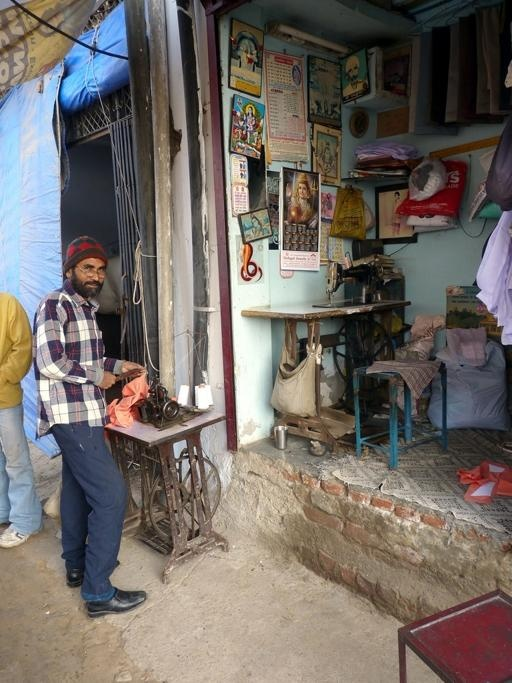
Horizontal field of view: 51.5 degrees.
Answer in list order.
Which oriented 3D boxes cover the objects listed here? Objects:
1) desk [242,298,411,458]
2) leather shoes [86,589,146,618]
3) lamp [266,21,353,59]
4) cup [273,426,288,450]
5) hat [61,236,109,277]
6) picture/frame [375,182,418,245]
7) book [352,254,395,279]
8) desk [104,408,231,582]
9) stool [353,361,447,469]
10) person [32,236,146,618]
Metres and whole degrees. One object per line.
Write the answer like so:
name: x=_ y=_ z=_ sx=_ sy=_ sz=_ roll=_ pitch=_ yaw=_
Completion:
desk: x=0.518 y=0.048 z=3.809 sx=0.861 sy=1.166 sz=1.612 roll=5 pitch=7 yaw=37
leather shoes: x=-0.715 y=1.312 z=2.721 sx=0.262 sy=0.106 sz=0.127 roll=-8 pitch=11 yaw=-20
lamp: x=0.385 y=-2.192 z=3.886 sx=0.132 sy=0.129 sz=0.956 roll=4 pitch=11 yaw=40
cup: x=0.158 y=0.636 z=3.479 sx=0.072 sy=0.141 sz=0.078 roll=-2 pitch=8 yaw=0
hat: x=-0.888 y=-0.466 z=2.765 sx=0.190 sy=0.174 sz=0.193 roll=-15 pitch=-5 yaw=34
picture/frame: x=1.236 y=-1.131 z=4.656 sx=0.024 sy=0.675 sz=0.557 roll=-8 pitch=6 yaw=-33
book: x=0.982 y=-0.611 z=4.336 sx=0.250 sy=0.130 sz=0.345 roll=4 pitch=6 yaw=43
desk: x=-0.590 y=0.927 z=3.328 sx=0.482 sy=0.826 sz=0.671 roll=-12 pitch=6 yaw=-40
stool: x=0.910 y=0.448 z=3.339 sx=0.502 sy=0.567 sz=0.376 roll=-7 pitch=6 yaw=-33
person: x=-0.883 y=0.440 z=2.758 sx=0.466 sy=1.933 sz=0.541 roll=-5 pitch=9 yaw=-18
